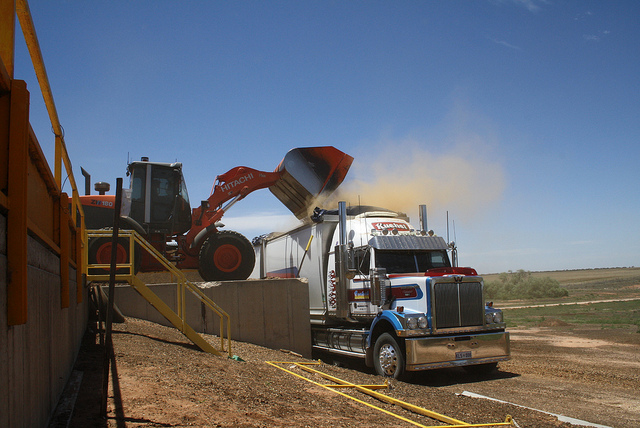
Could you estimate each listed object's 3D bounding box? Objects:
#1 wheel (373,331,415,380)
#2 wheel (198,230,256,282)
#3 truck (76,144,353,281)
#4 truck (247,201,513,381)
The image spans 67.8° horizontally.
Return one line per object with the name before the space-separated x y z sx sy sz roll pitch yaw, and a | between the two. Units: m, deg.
wheel | 1.709 3.429 11.332 0.511 1.251 1.181 3 0 -31
wheel | -3.148 1.598 16.282 1.850 1.973 0.665 -1 -23 -15
truck | -3.918 0.132 16.807 9.723 4.732 2.870 0 -8 -7
truck | 0.910 2.233 15.502 3.224 4.693 10.203 1 -9 -28
